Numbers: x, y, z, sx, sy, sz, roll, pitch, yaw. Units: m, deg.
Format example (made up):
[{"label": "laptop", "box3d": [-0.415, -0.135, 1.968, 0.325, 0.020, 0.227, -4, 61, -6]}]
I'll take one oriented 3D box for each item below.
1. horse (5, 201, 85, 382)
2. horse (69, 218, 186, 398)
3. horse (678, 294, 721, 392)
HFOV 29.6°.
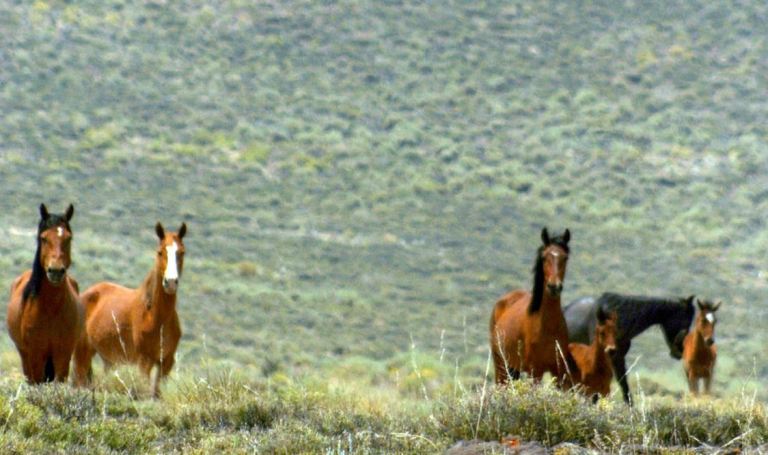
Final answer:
[{"label": "horse", "box3d": [-24.578, 4.574, 106.294, 5.692, 12.786, 7.355, 0, -1, -12]}, {"label": "horse", "box3d": [-17.339, 6.711, 107.068, 7.239, 13.570, 8.130, 10, -11, -27]}, {"label": "horse", "box3d": [23.982, 8.876, 109.799, 2.884, 7.743, 2.806, 2, 1, 0]}]
